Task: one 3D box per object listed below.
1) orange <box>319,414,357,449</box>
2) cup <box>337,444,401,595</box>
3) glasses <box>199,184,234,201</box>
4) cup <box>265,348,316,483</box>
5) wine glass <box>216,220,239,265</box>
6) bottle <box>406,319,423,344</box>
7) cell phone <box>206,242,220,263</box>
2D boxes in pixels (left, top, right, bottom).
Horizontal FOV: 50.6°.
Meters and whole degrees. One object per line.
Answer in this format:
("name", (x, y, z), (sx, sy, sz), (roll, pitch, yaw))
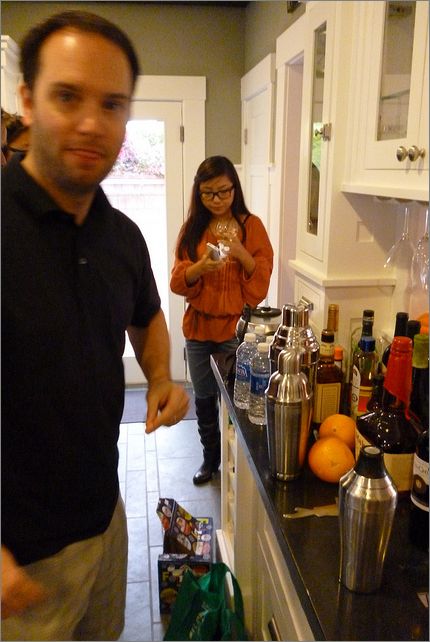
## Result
("orange", (0.257, 0.220, 0.934), (0.057, 0.080, 0.062), (-8, 16, 2))
("cup", (0.192, 0.256, 0.572), (0.069, 0.193, 0.051), (0, 11, 19))
("glasses", (0.015, -0.627, 2.240), (0.164, 0.062, 0.089), (-5, 12, 1))
("cup", (0.140, 0.178, 0.848), (0.086, 0.259, 0.084), (-4, 11, 1))
("wine glass", (0.067, -0.389, 2.195), (0.109, 0.193, 0.314), (-4, 12, 3))
("bottle", (0.344, 0.018, 0.781), (0.027, 0.051, 0.030), (0, 11, 1))
("cell phone", (-0.008, -0.309, 2.049), (0.018, 0.071, 0.068), (-25, 40, -28))
